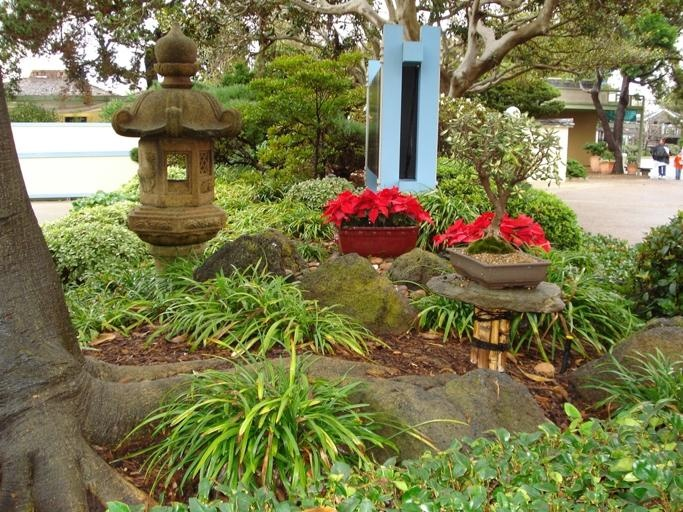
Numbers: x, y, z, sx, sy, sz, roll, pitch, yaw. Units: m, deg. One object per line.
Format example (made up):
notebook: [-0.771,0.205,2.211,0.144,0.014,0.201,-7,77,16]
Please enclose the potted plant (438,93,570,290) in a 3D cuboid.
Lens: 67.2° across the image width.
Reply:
potted plant: [1.371,-0.571,4.581,1.052,1.606,0.937,-7,15,-33]
